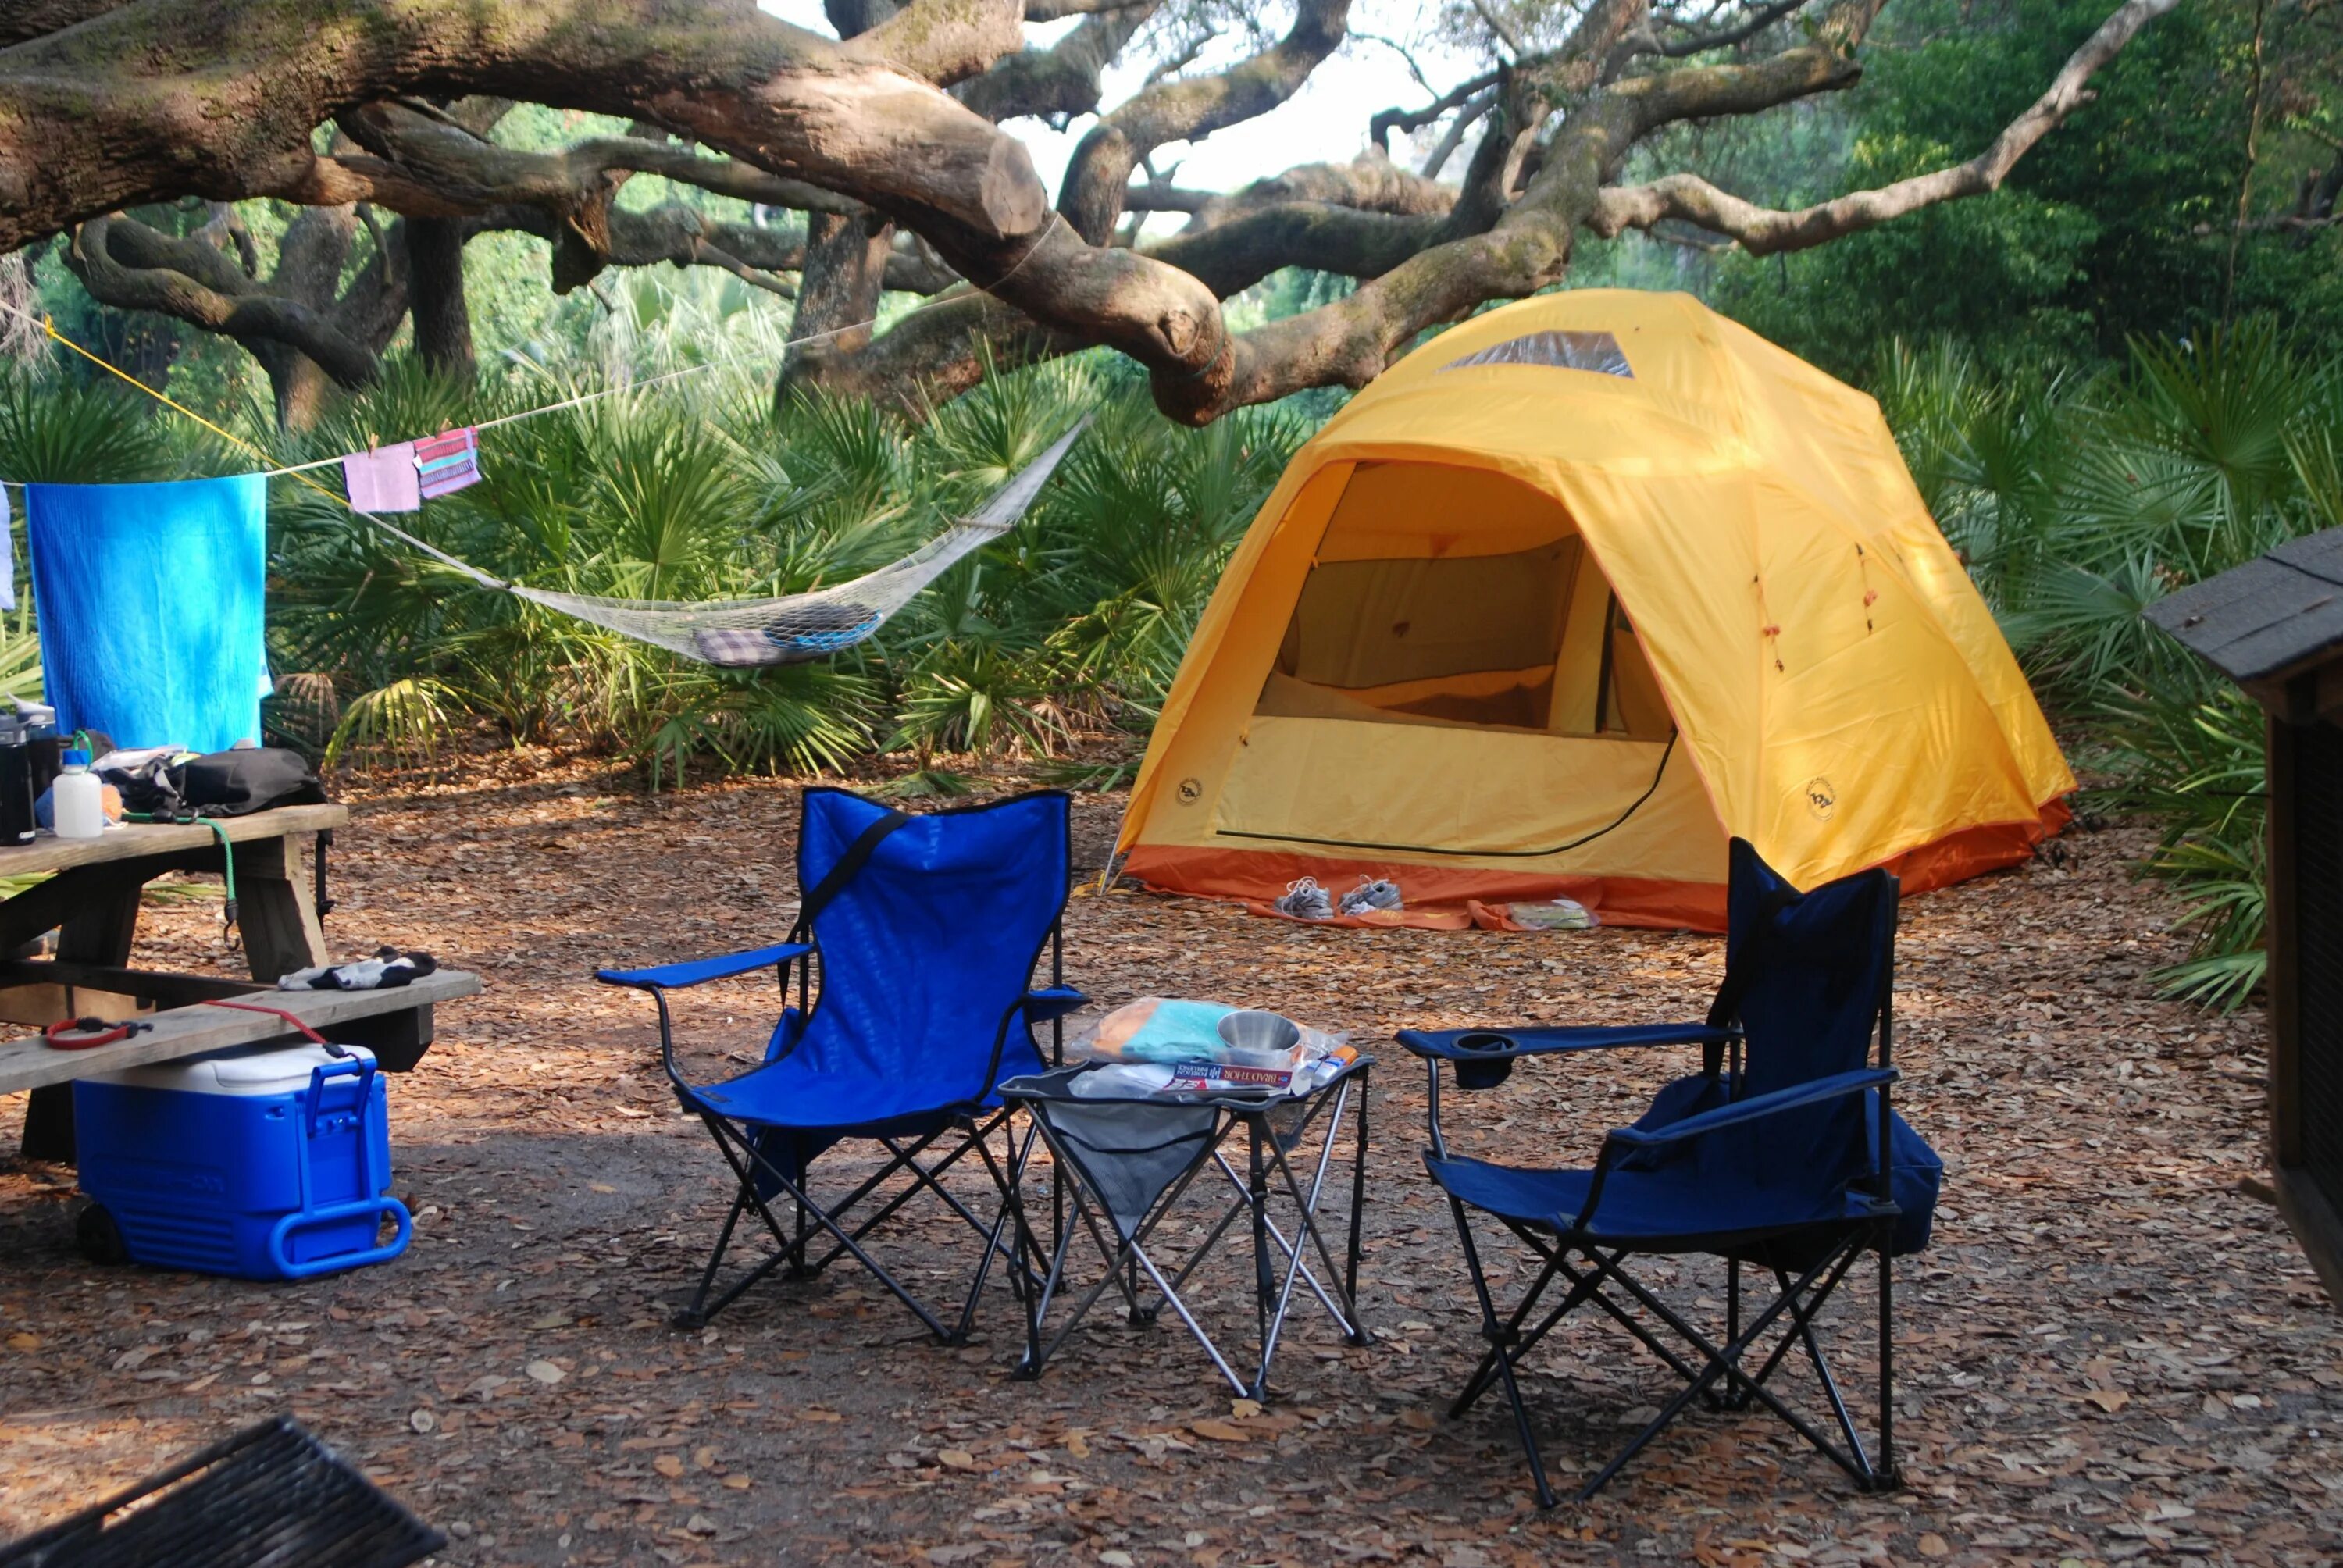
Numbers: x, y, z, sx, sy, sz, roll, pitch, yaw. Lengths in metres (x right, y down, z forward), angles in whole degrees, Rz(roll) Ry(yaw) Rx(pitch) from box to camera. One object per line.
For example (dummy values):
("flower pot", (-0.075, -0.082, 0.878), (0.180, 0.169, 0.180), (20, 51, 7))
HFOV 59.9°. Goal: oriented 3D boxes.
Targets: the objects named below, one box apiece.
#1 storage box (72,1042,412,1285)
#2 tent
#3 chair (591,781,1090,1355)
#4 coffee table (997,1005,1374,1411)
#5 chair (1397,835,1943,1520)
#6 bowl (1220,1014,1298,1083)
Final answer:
("storage box", (-2.450, 1.009, 5.583), (0.955, 0.482, 0.570), (4, 4, 30))
("tent", (1.801, -0.752, 8.658), (3.317, 2.553, 2.020), (10, 23, 21))
("chair", (-0.781, 0.695, 5.500), (0.990, 1.280, 1.235), (1, 21, -4))
("coffee table", (0.003, 0.999, 5.141), (1.028, 0.627, 0.860), (0, 0, -26))
("chair", (1.201, 0.851, 4.748), (1.088, 1.300, 1.157), (7, 22, 11))
("bowl", (0.212, 0.647, 5.062), (0.180, 0.094, 0.169), (2, 19, -1))
